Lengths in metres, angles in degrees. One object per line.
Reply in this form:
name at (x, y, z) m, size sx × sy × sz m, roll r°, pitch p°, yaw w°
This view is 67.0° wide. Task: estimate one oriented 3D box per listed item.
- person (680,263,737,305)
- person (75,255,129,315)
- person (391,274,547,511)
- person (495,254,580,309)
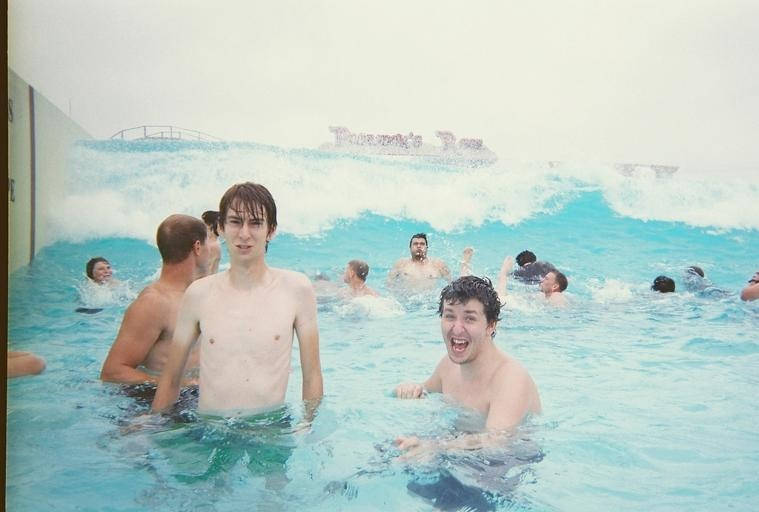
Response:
person at (5.332, 0.461, 9.405) m, size 0.618 × 0.623 × 1.031 m, roll 1°, pitch -6°, yaw -16°
person at (-4.178, 0.495, 8.638) m, size 0.623 × 0.879 × 0.381 m, roll 15°, pitch -18°, yaw -15°
person at (0.797, 1.109, 4.971) m, size 1.096 × 1.884 × 0.845 m, roll -2°, pitch -6°, yaw 14°
person at (2.392, 0.418, 8.773) m, size 1.090 × 0.532 × 0.808 m, roll 6°, pitch -6°, yaw -28°
